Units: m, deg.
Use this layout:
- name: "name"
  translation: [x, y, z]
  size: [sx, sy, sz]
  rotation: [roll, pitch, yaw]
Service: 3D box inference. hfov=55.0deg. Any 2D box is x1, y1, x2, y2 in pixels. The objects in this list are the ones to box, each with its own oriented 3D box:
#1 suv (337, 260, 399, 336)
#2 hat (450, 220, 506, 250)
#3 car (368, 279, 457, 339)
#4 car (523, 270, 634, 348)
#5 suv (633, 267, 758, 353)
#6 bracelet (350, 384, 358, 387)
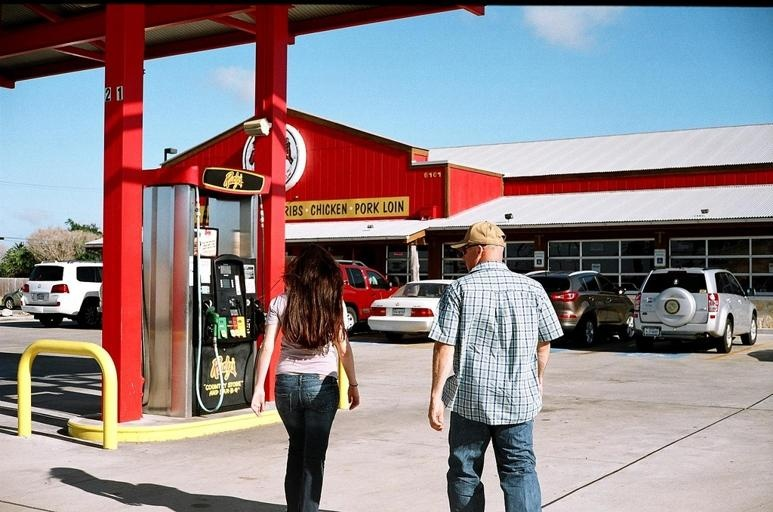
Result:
- name: "suv"
  translation: [-0.928, 1.121, 22.835]
  size: [1.415, 1.382, 2.635]
  rotation: [1, 4, 42]
- name: "hat"
  translation: [0.836, -0.192, 6.754]
  size: [0.400, 0.200, 0.255]
  rotation: [1, 0, 15]
- name: "car"
  translation: [0.718, 1.426, 20.949]
  size: [1.320, 0.882, 3.106]
  rotation: [1, 3, 27]
- name: "car"
  translation: [5.550, 1.281, 21.255]
  size: [1.942, 1.775, 4.485]
  rotation: [1, 3, 43]
- name: "suv"
  translation: [7.824, 1.328, 18.324]
  size: [3.260, 2.090, 1.518]
  rotation: [2, -5, -26]
- name: "bracelet"
  translation: [-0.308, 1.264, 7.248]
  size: [0.057, 0.015, 0.046]
  rotation: [-1, -1, 28]
